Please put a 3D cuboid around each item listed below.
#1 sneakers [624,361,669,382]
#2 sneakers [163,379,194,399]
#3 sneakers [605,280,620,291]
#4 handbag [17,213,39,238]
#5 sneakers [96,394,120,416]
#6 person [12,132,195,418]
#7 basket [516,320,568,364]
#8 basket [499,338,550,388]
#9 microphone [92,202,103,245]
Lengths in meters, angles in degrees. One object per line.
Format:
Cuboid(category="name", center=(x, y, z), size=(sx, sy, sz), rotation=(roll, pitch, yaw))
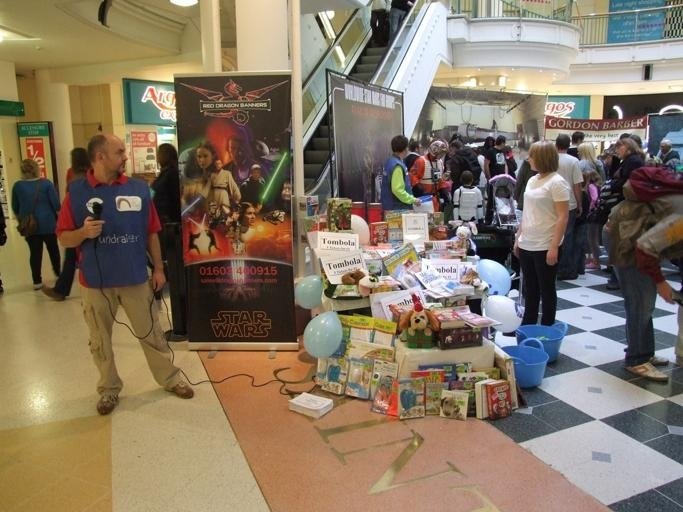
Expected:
Cuboid(category="sneakers", center=(2.695, 1.000, 4.418), size=(0.277, 0.117, 0.139), rotation=(3, 14, 31))
Cuboid(category="sneakers", center=(-1.359, 1.120, 4.220), size=(0.244, 0.115, 0.120), rotation=(4, 20, 16))
Cuboid(category="sneakers", center=(3.561, 0.381, 6.597), size=(0.135, 0.151, 0.322), rotation=(2, 0, 33))
Cuboid(category="handbag", center=(-4.113, -0.416, 6.567), size=(0.239, 0.262, 0.140), rotation=(20, 7, 25))
Cuboid(category="sneakers", center=(-1.884, 1.188, 4.008), size=(0.083, 0.108, 0.231), rotation=(2, -2, -15))
Cuboid(category="person", center=(-1.763, 0.140, 4.013), size=(0.850, 2.171, 0.466), rotation=(-6, 12, -28))
Cuboid(category="basket", center=(1.875, 0.735, 4.748), size=(0.431, 0.310, 0.376), rotation=(-9, 12, -33))
Cuboid(category="basket", center=(1.577, 0.909, 4.347), size=(0.375, 0.292, 0.424), rotation=(1, 17, 31))
Cuboid(category="microphone", center=(-1.845, -0.238, 3.790), size=(0.090, 0.344, 0.145), rotation=(-6, 12, -27))
